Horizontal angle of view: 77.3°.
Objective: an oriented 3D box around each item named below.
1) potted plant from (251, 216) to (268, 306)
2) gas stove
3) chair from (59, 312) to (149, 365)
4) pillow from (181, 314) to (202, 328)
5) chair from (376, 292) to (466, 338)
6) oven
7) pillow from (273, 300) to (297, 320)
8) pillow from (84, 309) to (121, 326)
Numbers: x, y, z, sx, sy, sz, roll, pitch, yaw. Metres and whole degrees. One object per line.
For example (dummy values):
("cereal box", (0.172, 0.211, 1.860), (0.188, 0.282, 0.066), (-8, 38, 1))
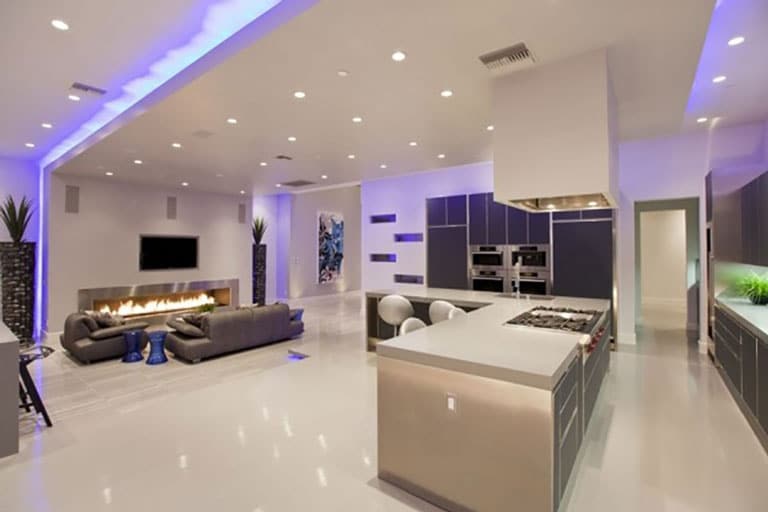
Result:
("potted plant", (-3.295, 0.108, 12.595), (0.362, 2.173, 0.649), (-2, 4, -16))
("gas stove", (2.078, 0.886, 5.779), (0.877, 0.376, 1.262), (2, 5, 33))
("chair", (-4.663, 1.319, 7.948), (0.881, 0.648, 1.135), (0, 1, -38))
("pillow", (-3.251, 1.081, 8.128), (0.261, 0.231, 0.078), (12, 10, 18))
("chair", (0.412, 0.817, 7.004), (0.757, 0.889, 0.702), (-5, 1, -26))
("oven", (2.396, 0.214, 8.961), (1.388, 0.878, 0.329), (1, 4, 23))
("pillow", (-1.920, 1.049, 9.158), (0.470, 0.386, 0.459), (2, 1, 14))
("pillow", (-4.679, 1.061, 8.164), (0.371, 0.114, 0.360), (8, 2, 2))
